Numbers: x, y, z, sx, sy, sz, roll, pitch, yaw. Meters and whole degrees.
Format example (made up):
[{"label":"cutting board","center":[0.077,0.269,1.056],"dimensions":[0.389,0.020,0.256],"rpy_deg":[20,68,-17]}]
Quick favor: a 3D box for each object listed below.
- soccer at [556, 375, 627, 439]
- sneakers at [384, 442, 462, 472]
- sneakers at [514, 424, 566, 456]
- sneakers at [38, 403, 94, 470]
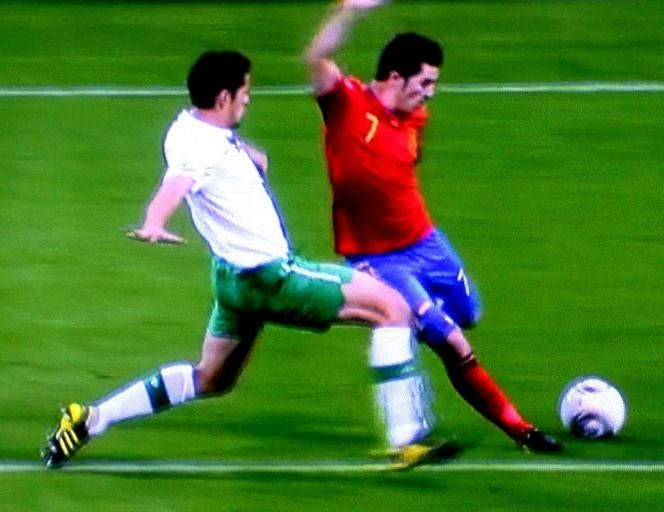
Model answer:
[{"label":"soccer","center":[1.230,0.717,6.182],"dimensions":[0.315,0.287,0.287],"rpy_deg":[-3,37,6]},{"label":"sneakers","center":[0.462,0.926,6.158],"dimensions":[0.258,0.071,0.175],"rpy_deg":[-3,4,-36]},{"label":"sneakers","center":[0.991,0.874,6.219],"dimensions":[0.272,0.116,0.093],"rpy_deg":[5,39,4]},{"label":"sneakers","center":[-1.226,0.840,6.123],"dimensions":[0.200,0.308,0.129],"rpy_deg":[38,17,24]}]
